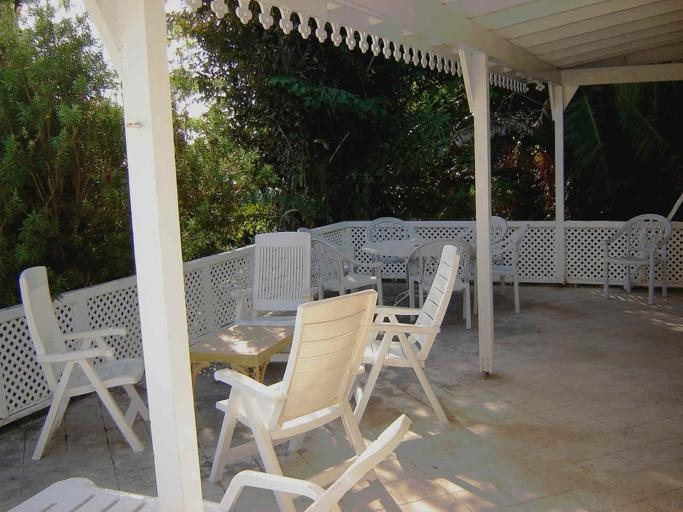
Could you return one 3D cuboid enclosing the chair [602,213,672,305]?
[{"bbox_3d":[4.802,-0.014,8.175,0.930,1.309,1.402,7,10,34],"label":"chair"}]
